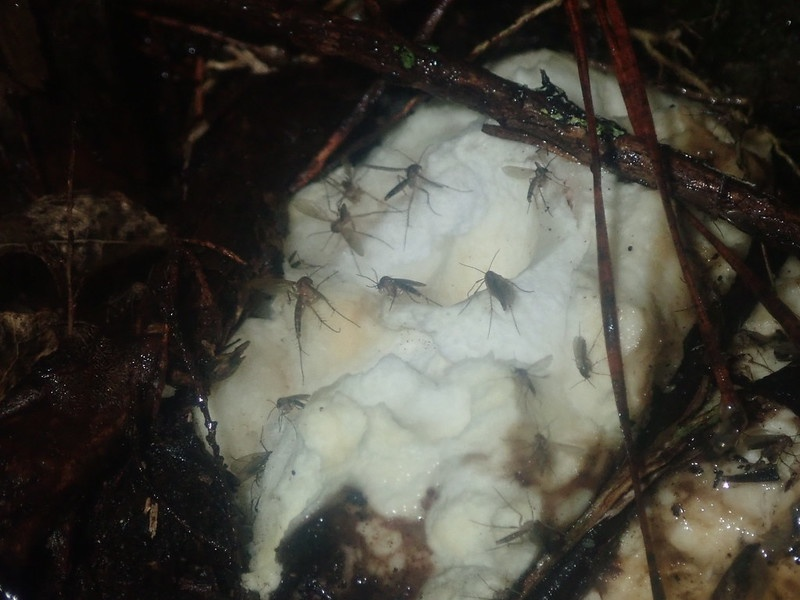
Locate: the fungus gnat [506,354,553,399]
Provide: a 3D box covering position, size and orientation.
[{"bbox_3d":[1.153,0.710,8.828,0.361,0.192,0.328,-21,77,-4],"label":"fungus gnat"}]

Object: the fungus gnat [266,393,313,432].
[{"bbox_3d":[-0.977,0.997,8.990,0.293,0.343,0.133,13,27,-9],"label":"fungus gnat"}]
